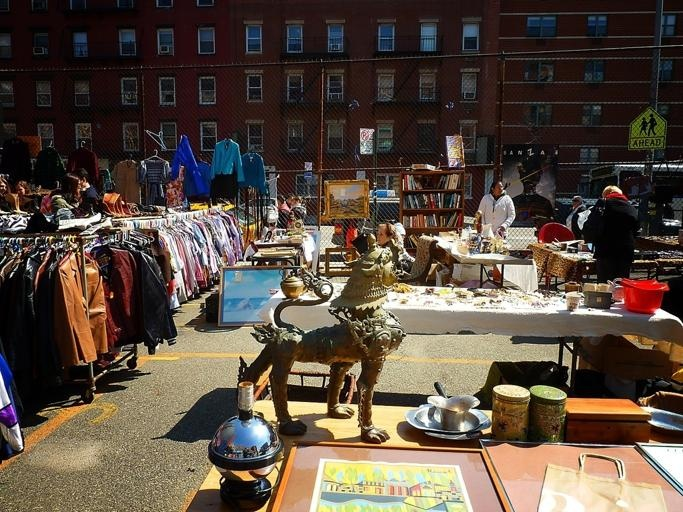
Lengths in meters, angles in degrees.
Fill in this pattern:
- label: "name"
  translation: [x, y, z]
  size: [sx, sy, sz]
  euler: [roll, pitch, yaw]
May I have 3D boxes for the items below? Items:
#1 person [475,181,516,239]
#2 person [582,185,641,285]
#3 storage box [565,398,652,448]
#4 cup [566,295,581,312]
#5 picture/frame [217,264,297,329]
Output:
- label: "person"
  translation: [2.994, -0.856, 11.755]
  size: [0.658, 1.135, 1.848]
  euler: [3, 14, 15]
- label: "person"
  translation: [4.152, -0.310, 9.379]
  size: [0.737, 1.434, 0.691]
  euler: [11, 17, 41]
- label: "storage box"
  translation: [1.926, 1.223, 4.389]
  size: [0.428, 0.164, 0.334]
  euler: [0, 7, 6]
- label: "cup"
  translation: [2.434, 0.488, 6.379]
  size: [0.156, 0.173, 0.157]
  euler: [3, 7, 0]
- label: "picture/frame"
  translation: [-1.194, 0.551, 8.308]
  size: [0.977, 0.758, 0.039]
  euler: [1, -1, -3]
